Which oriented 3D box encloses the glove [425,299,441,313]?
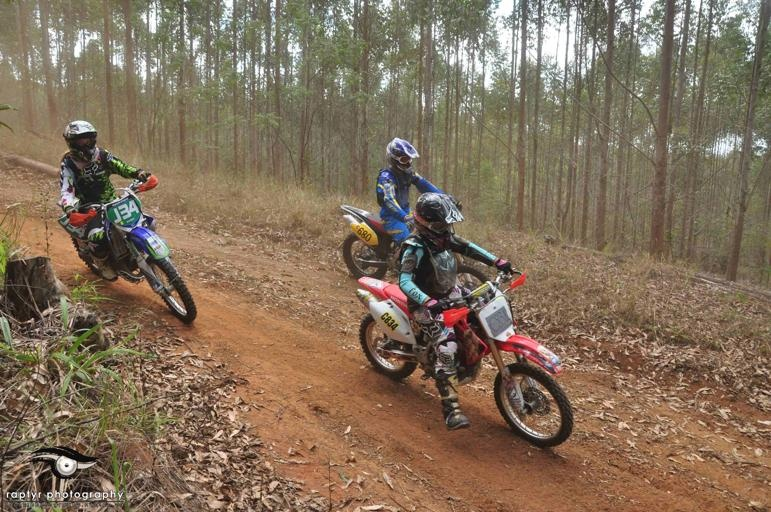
[{"bbox_3d":[1.151,1.208,16.016,0.241,0.307,0.326,0,31,-17],"label":"glove"}]

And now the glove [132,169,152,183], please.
[{"bbox_3d":[-6.376,-2.064,17.528,0.472,0.212,0.327,11,57,47],"label":"glove"}]

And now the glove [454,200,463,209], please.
[{"bbox_3d":[1.897,-1.294,17.102,0.248,0.110,0.324,30,3,-17],"label":"glove"}]
